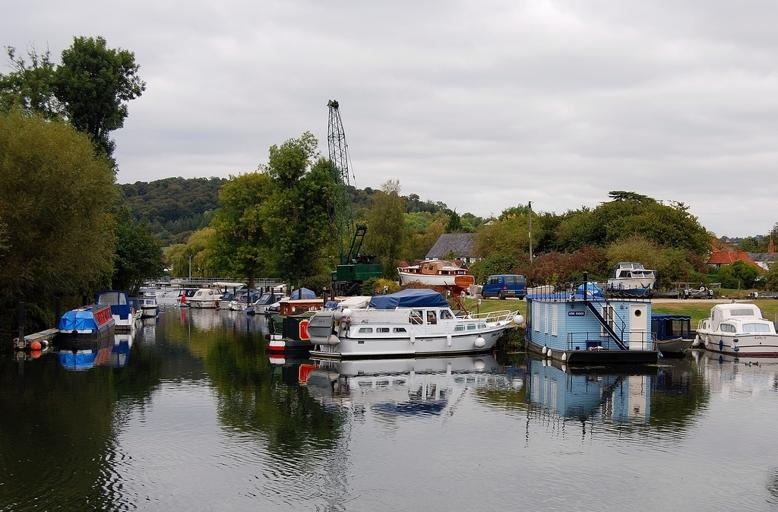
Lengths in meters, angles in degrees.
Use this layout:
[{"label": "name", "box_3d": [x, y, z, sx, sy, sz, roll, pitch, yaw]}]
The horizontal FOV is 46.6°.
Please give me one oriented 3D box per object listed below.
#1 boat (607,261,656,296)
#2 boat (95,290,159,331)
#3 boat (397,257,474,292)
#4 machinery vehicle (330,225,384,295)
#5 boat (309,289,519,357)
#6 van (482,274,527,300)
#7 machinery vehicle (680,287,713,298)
[{"label": "boat", "box_3d": [20.732, 1.854, 77.917, 3.675, 2.199, 4.513, 0, -1, 5]}, {"label": "boat", "box_3d": [-24.470, 4.867, 83.250, 7.149, 3.845, 3.989, 2, -4, -1]}, {"label": "boat", "box_3d": [4.282, 1.934, 88.820, 7.806, 2.643, 2.950, -1, -1, 42]}, {"label": "machinery vehicle", "box_3d": [-3.464, 0.249, 100.254, 4.659, 6.544, 28.801, 0, -1, -1]}, {"label": "boat", "box_3d": [1.728, 4.550, 64.693, 14.515, 4.187, 5.078, -1, 0, -17]}, {"label": "van", "box_3d": [10.492, 2.847, 84.029, 2.235, 1.476, 3.149, 0, 3, -21]}, {"label": "machinery vehicle", "box_3d": [28.851, 3.484, 84.327, 2.572, 1.334, 1.129, -1, 2, 11]}]
